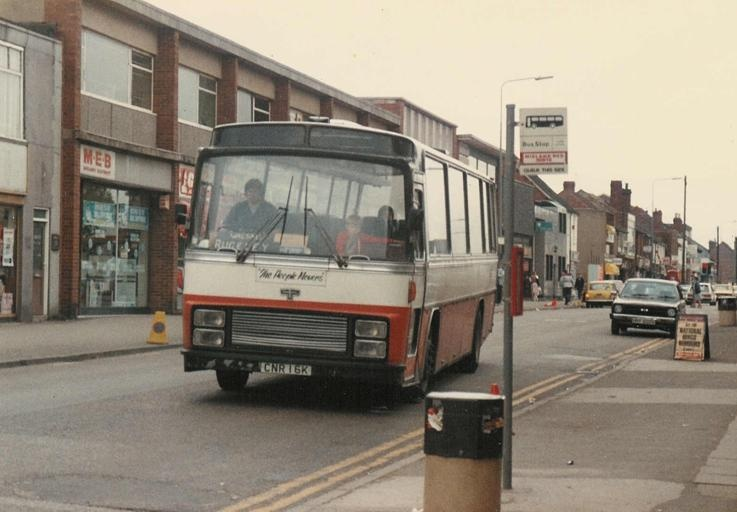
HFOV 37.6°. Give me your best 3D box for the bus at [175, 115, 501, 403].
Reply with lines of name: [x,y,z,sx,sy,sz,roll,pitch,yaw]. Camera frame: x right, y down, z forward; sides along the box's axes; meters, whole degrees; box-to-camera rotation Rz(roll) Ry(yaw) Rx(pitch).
bus: [0.027,0.024,18.437,5.842,4.687,2.949,2,-2,-44]

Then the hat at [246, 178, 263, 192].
hat: [-1.857,-1.139,17.355,0.214,0.220,0.214,-11,12,-39]

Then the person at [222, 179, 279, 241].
person: [-1.874,-0.713,17.335,0.721,1.137,0.424,5,-9,17]

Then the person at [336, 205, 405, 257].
person: [0.053,-0.434,17.392,0.738,0.654,0.794,1,4,11]
